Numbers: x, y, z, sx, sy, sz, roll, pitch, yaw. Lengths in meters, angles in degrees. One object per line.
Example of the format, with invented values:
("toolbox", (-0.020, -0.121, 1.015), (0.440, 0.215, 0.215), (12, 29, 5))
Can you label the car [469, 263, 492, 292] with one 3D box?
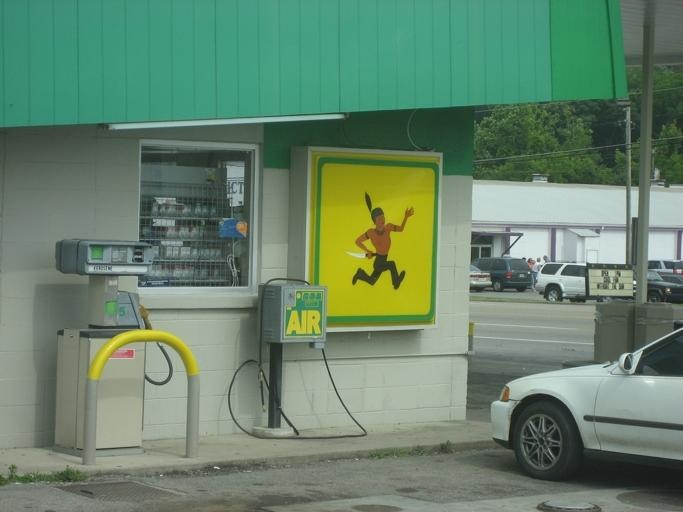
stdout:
("car", (6.067, 0.848, 46.014), (0.957, 0.912, 2.290), (-1, 4, -9))

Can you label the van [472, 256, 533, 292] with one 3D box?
("van", (7.347, 0.803, 48.272), (1.254, 1.097, 2.345), (0, 7, -33))

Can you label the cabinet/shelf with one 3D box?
("cabinet/shelf", (-2.171, -0.359, 14.569), (1.310, 1.511, 0.496), (0, 22, -9))
